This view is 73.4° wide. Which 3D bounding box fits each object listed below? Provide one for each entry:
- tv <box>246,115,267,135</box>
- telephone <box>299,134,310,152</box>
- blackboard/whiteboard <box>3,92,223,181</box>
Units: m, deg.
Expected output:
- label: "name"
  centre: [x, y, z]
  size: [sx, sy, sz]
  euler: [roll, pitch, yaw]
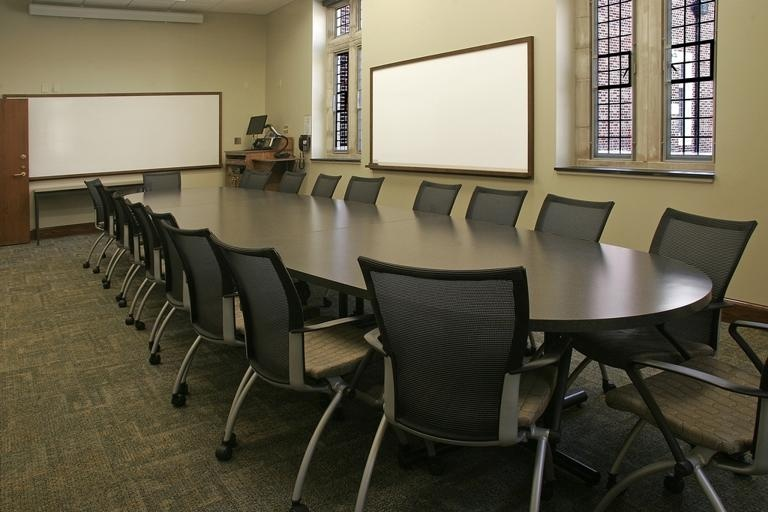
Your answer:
- label: "tv"
  centre: [-2.605, -2.634, 10.536]
  size: [0.288, 0.374, 0.654]
  euler: [-10, 19, -31]
- label: "telephone"
  centre: [-1.573, -2.157, 9.993]
  size: [0.097, 0.322, 0.372]
  euler: [-15, 22, -42]
- label: "blackboard/whiteboard"
  centre: [-4.928, -2.281, 9.723]
  size: [3.174, 1.474, 0.415]
  euler: [-10, 19, -32]
